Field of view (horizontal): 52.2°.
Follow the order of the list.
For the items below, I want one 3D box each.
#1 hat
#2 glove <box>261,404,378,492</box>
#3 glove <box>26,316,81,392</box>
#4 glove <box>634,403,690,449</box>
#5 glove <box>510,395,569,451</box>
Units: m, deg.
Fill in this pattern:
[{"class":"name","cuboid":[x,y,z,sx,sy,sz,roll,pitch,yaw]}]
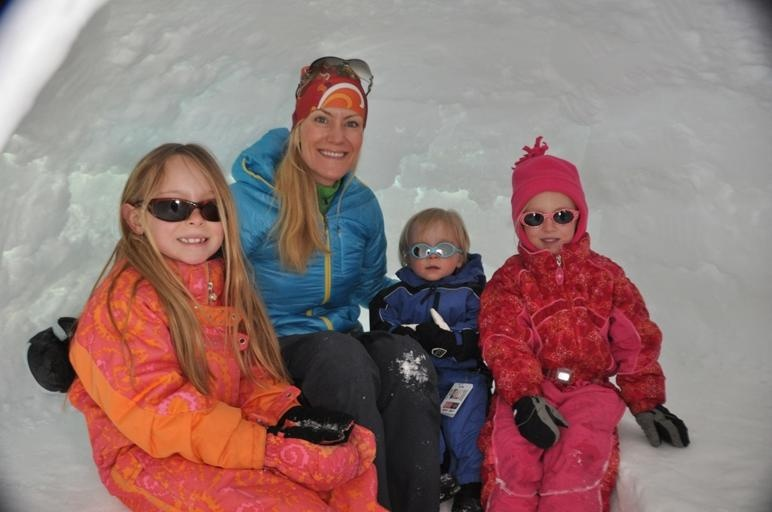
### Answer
[{"class":"hat","cuboid":[-0.276,-0.851,4.199,0.288,0.232,0.356,3,16,-13]},{"class":"glove","cuboid":[-0.311,0.816,3.327,0.377,0.327,0.125,2,-4,3]},{"class":"glove","cuboid":[-1.534,0.452,3.591,0.310,0.307,0.092,15,-17,-25]},{"class":"glove","cuboid":[1.353,0.826,3.819,0.259,0.187,0.123,2,-4,9]},{"class":"glove","cuboid":[0.704,0.760,3.668,0.288,0.161,0.104,41,17,29]}]
